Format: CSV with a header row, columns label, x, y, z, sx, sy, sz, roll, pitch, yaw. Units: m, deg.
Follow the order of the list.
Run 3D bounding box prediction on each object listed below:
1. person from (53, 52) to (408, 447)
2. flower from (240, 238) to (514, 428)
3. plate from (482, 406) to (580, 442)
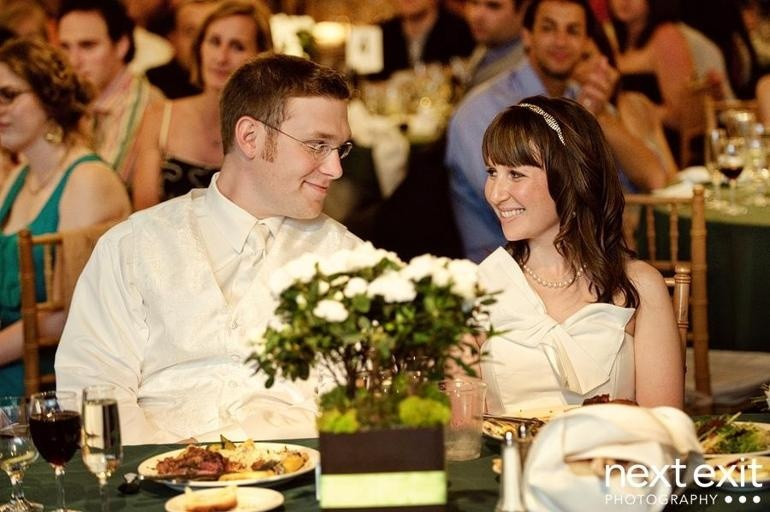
label,x,y,z,sx,sy,sz,roll,pitch,yaw
person,-0.555,0.005,3.633,1.553,1.590,0.871,3,10,-15
flower,-0.038,0.271,2.684,0.727,0.588,0.668,-8,2,8
plate,0.462,0.560,2.914,0.214,0.038,0.211,-5,2,16
